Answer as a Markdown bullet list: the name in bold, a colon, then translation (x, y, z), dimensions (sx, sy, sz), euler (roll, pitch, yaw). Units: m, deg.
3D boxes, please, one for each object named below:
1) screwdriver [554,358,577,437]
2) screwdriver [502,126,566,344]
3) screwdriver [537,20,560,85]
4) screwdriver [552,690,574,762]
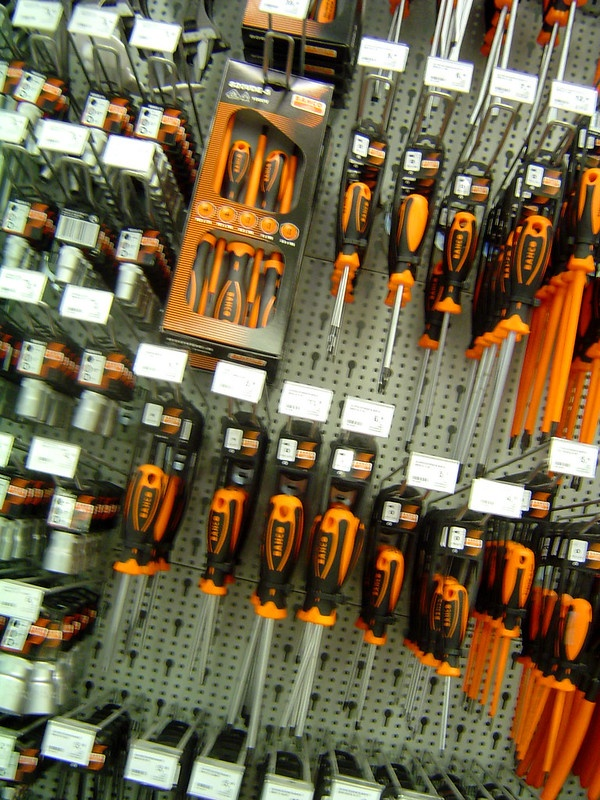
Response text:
- **screwdriver**: translation (0.827, -0.014, 2.051), dimensions (0.040, 0.040, 0.255), euler (9, 99, -25)
- **screwdriver**: translation (0.656, -0.349, 1.900), dimensions (0.102, 0.080, 0.651), euler (2, 103, -4)
- **screwdriver**: translation (0.810, -1.141, 2.162), dimensions (0.061, 0.057, 0.280), euler (8, 82, 14)
- **screwdriver**: translation (0.805, 0.981, 2.043), dimensions (0.064, 0.398, 0.058), euler (-8, 92, 26)
